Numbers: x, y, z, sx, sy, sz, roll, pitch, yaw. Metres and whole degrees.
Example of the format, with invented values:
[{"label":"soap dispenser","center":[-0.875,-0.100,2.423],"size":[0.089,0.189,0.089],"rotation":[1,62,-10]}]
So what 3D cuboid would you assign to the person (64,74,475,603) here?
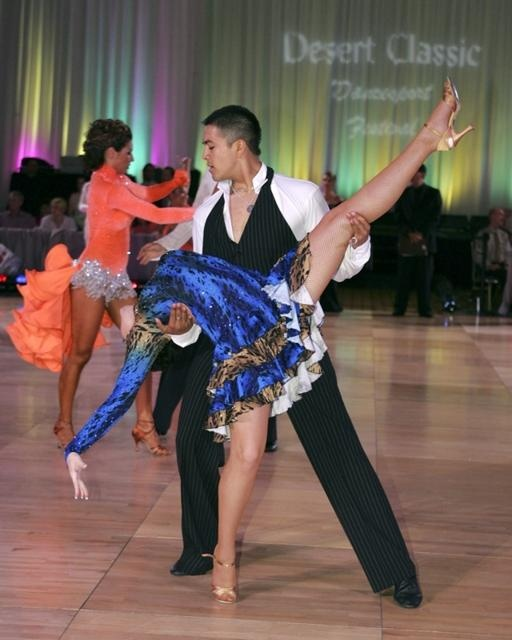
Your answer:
[{"label":"person","center":[0.009,0.089,1.977],"size":[0.953,1.361,0.444],"rotation":[1,8,2]}]
